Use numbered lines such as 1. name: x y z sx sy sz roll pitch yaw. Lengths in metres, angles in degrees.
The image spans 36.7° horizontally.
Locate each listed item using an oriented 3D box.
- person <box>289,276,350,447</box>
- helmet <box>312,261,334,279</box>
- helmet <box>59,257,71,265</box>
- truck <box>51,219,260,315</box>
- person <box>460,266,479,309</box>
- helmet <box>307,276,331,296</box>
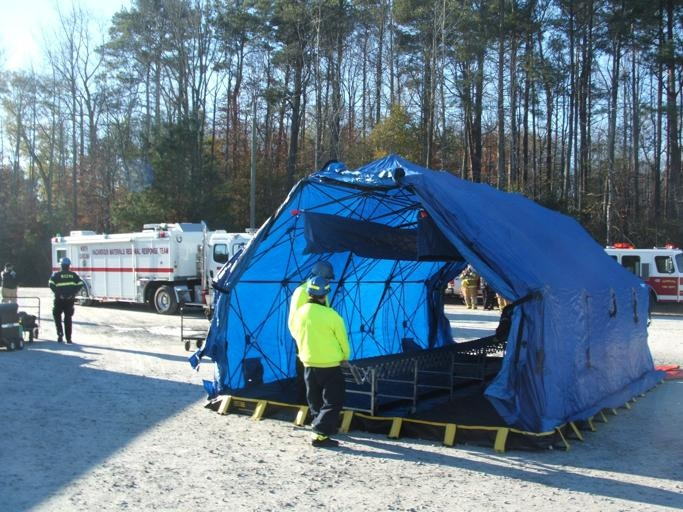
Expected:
1. person: -0.454 2.543 24.655 1.241 4.025 0.646 -2 3 -5
2. helmet: -0.458 0.349 25.054 0.457 0.466 0.400 -1 11 -33
3. helmet: -8.525 0.188 31.739 0.399 0.224 0.300 8 9 43
4. truck: -7.322 0.508 39.538 8.715 3.433 1.442 0 3 40
5. person: 5.134 1.281 41.265 0.703 1.728 1.371 -1 3 6
6. helmet: -0.578 0.747 24.731 0.411 0.414 0.483 0 -7 6
